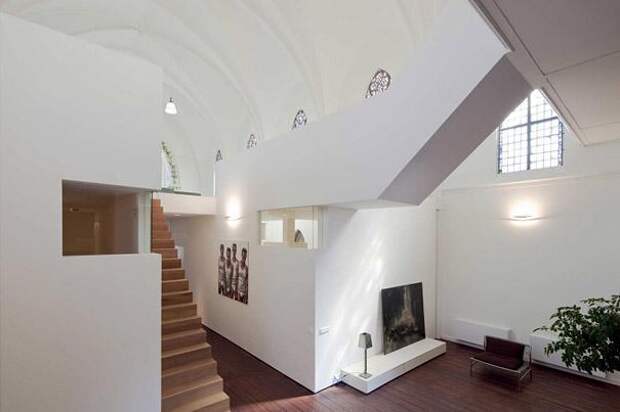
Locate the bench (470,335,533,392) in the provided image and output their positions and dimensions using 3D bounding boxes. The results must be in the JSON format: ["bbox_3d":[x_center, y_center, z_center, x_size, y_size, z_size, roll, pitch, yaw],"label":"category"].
[{"bbox_3d":[4.955,3.928,10.017,0.938,1.198,1.515,6,-8,-44],"label":"bench"}]
